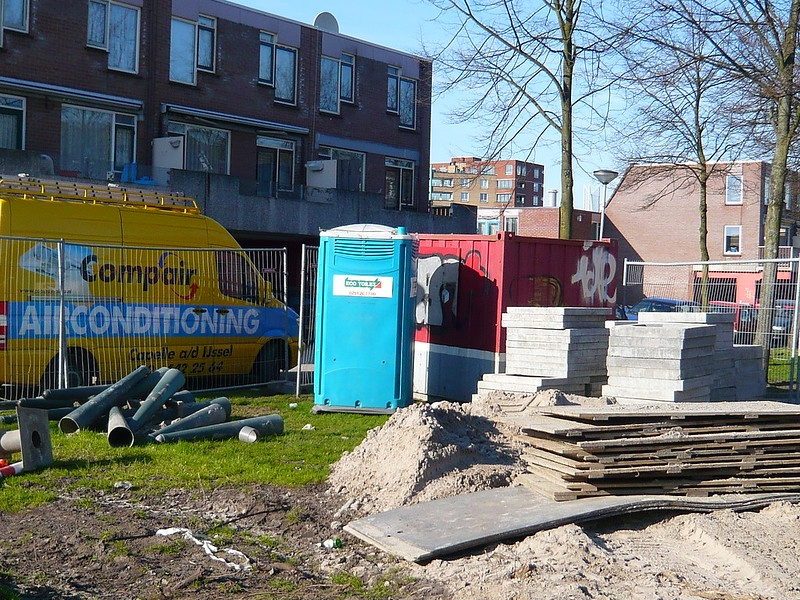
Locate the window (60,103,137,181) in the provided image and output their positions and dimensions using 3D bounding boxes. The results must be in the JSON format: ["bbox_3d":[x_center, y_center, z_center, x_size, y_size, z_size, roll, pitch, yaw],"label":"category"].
[{"bbox_3d":[-8.416,-4.286,27.622,2.673,2.066,0.078,9,10,25],"label":"window"}]

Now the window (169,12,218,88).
[{"bbox_3d":[-6.149,-7.869,30.047,0.104,2.211,2.115,5,5,23],"label":"window"}]

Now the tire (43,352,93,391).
[{"bbox_3d":[-5.266,1.144,15.770,0.539,0.588,0.572,-3,-6,14],"label":"tire"}]

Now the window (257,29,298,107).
[{"bbox_3d":[-4.075,-7.611,32.464,0.196,2.168,2.622,0,-2,26],"label":"window"}]

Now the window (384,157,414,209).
[{"bbox_3d":[-0.058,-4.183,36.592,0.134,1.832,2.311,6,13,30],"label":"window"}]

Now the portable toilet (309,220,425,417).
[{"bbox_3d":[-0.594,0.274,16.431,1.914,2.993,1.876,2,0,-25],"label":"portable toilet"}]

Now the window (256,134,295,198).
[{"bbox_3d":[-4.074,-4.342,32.625,0.149,1.716,2.217,5,6,31],"label":"window"}]

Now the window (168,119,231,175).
[{"bbox_3d":[-6.090,-4.584,29.707,0.139,1.529,2.028,9,8,37],"label":"window"}]
